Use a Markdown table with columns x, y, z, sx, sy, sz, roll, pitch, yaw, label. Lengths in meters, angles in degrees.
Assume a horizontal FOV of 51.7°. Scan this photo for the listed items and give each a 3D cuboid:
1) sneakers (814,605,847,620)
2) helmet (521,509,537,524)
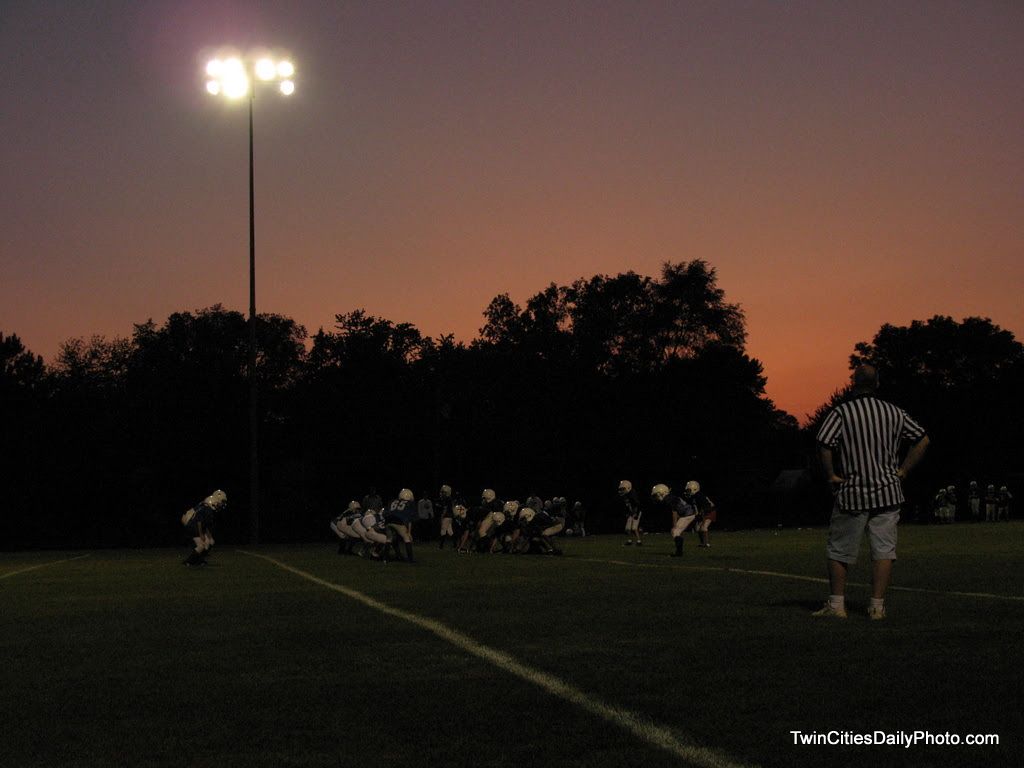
| x | y | z | sx | sy | sz | roll | pitch | yaw | label |
| --- | --- | --- | --- | --- | --- | --- | --- | --- | --- |
| 3.348 | 2.395 | 11.134 | 0.360 | 0.148 | 0.136 | -3 | -5 | 38 | sneakers |
| 0.511 | 3.710 | 29.942 | 0.299 | 0.404 | 0.551 | 5 | -9 | -22 | helmet |
